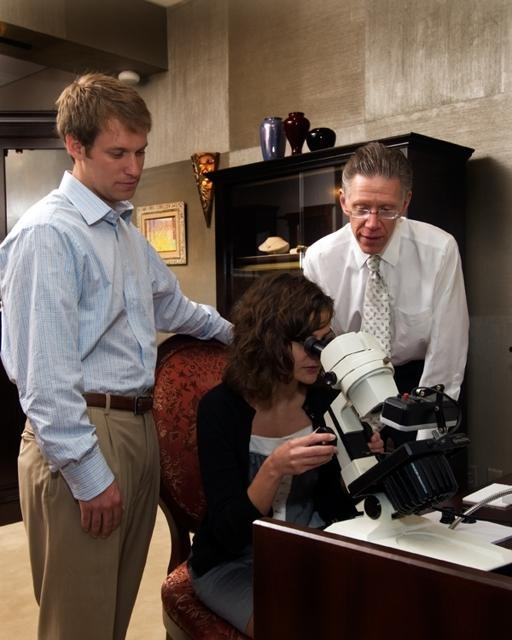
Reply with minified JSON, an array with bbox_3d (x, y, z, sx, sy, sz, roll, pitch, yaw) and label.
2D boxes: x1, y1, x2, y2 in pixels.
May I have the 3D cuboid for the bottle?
[{"bbox_3d":[0.247,-1.015,3.035,0.438,0.232,0.146,8,19,37],"label":"bottle"}]

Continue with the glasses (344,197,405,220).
[{"bbox_3d":[0.368,-0.329,1.685,0.170,0.056,0.126,-3,7,12],"label":"glasses"}]

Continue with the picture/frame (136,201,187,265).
[{"bbox_3d":[-0.737,-0.658,4.223,0.465,0.476,0.037,0,3,27],"label":"picture/frame"}]

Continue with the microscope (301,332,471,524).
[{"bbox_3d":[0.185,0.112,0.843,0.235,0.300,0.253,0,3,36],"label":"microscope"}]
